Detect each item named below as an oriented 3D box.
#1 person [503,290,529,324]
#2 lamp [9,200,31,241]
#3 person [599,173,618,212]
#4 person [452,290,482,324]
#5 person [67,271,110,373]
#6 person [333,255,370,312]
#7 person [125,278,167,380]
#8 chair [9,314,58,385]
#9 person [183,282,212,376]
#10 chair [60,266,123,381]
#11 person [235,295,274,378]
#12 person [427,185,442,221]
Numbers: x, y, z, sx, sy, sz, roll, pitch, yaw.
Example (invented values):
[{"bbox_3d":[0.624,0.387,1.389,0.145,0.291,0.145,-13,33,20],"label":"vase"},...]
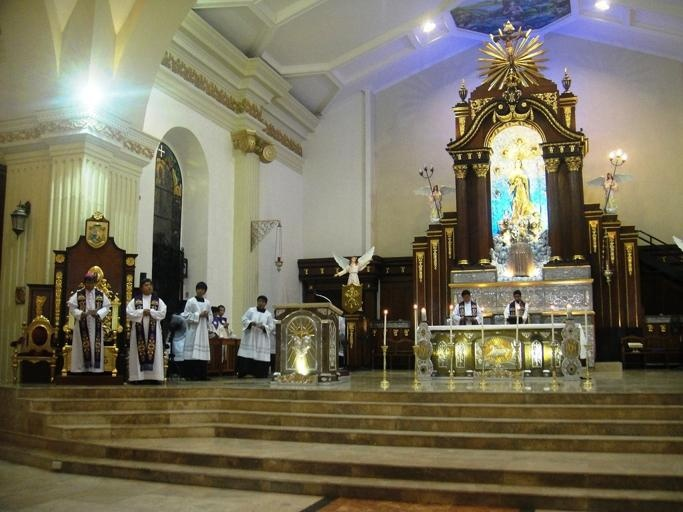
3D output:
[{"bbox_3d":[3.593,1.239,12.321,0.411,1.011,0.346,2,13,15],"label":"person"},{"bbox_3d":[-6.022,-0.686,11.112,0.374,0.671,0.220,-3,-9,22],"label":"lamp"},{"bbox_3d":[6.976,-1.640,15.487,0.389,1.118,0.833,-4,-9,24],"label":"person"},{"bbox_3d":[2.653,1.098,12.693,0.555,0.735,0.880,-2,-8,11],"label":"person"},{"bbox_3d":[-4.033,1.064,9.483,0.607,1.564,0.386,3,-8,-19],"label":"person"},{"bbox_3d":[0.289,0.772,16.270,0.926,1.646,1.516,0,-8,-1],"label":"person"},{"bbox_3d":[-3.179,1.225,9.645,0.598,1.624,0.263,3,-9,-19],"label":"person"},{"bbox_3d":[-4.908,1.448,9.569,0.657,1.023,0.579,4,-10,-27],"label":"chair"},{"bbox_3d":[-2.693,1.356,11.138,0.496,1.641,0.464,1,0,-24],"label":"person"},{"bbox_3d":[-4.025,1.084,9.558,0.813,1.660,0.582,0,-3,-17],"label":"chair"},{"bbox_3d":[-1.756,1.646,12.095,0.707,1.613,1.115,0,-8,-3],"label":"person"},{"bbox_3d":[2.582,-1.452,16.415,0.359,0.964,0.634,-3,-8,19],"label":"person"}]
